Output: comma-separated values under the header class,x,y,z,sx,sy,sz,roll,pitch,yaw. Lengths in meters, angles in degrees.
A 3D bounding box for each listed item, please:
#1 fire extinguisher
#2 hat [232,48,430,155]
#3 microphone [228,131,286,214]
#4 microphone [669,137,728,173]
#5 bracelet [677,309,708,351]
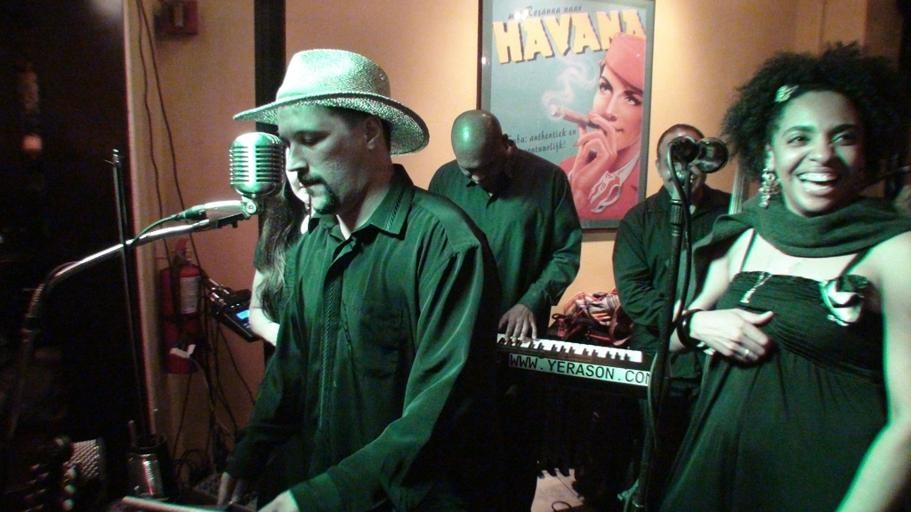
class,x,y,z,sx,sy,sz,roll,pitch,yaw
fire extinguisher,-1.652,0.305,4.219,0.297,0.815,0.250,2,4,44
hat,-0.399,-0.650,2.846,0.540,0.237,0.626,-3,-13,42
microphone,-0.767,-0.331,2.698,0.200,0.325,0.126,-1,3,-13
microphone,0.919,-0.376,2.605,0.204,0.111,0.122,-1,13,-45
bracelet,0.951,0.301,2.830,0.140,0.156,0.075,-5,-2,-20
